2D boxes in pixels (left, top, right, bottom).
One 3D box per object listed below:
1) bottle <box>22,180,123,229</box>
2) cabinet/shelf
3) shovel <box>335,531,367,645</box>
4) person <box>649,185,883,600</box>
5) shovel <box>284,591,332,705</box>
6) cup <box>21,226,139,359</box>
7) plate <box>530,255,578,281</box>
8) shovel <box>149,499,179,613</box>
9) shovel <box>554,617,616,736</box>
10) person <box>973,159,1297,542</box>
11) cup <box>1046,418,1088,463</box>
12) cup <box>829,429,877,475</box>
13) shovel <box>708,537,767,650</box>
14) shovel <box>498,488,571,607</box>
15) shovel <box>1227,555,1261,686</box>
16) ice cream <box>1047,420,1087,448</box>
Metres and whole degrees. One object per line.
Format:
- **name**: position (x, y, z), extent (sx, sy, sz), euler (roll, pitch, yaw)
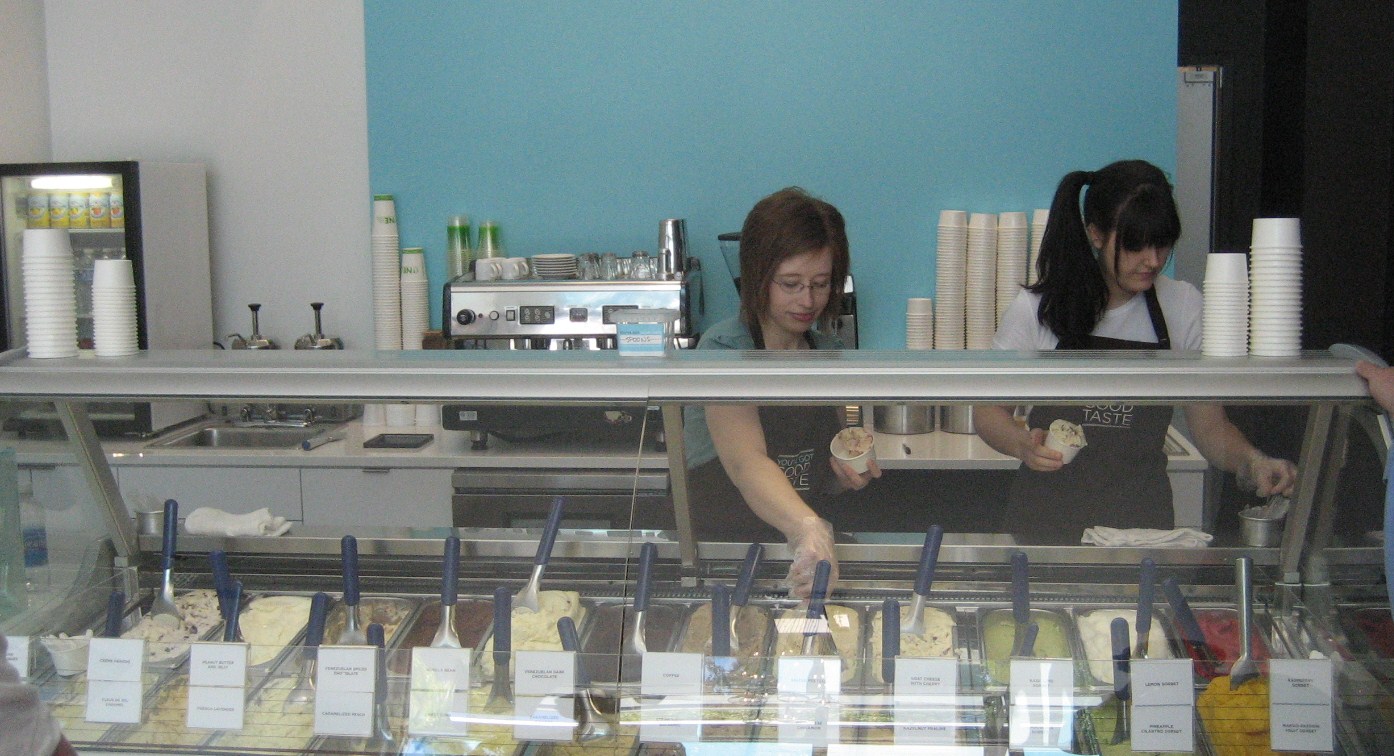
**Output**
- **bottle**: position (-2.943, -0.823, 5.828), extent (0.489, 0.245, 0.086), euler (-1, 4, 6)
- **cabinet/shelf**: position (-1.281, 0.368, 3.876), extent (1.013, 0.222, 0.138), euler (-1, 4, -6)
- **shovel**: position (-1.053, 0.635, 3.785), extent (0.065, 0.300, 0.175), euler (-3, 4, -15)
- **person**: position (0.253, -0.001, 4.031), extent (0.573, 1.253, 0.794), euler (-2, 4, 0)
- **shovel**: position (-1.152, 0.805, 3.704), extent (0.152, 0.264, 0.053), euler (-4, -29, 29)
- **cup**: position (-1.894, -0.267, 3.811), extent (0.339, 0.395, 0.159), euler (-2, 4, -8)
- **plate**: position (-0.685, -0.531, 5.848), extent (0.264, 0.106, 0.123), euler (0, 4, 13)
- **shovel**: position (-1.636, 0.542, 3.829), extent (0.075, 0.340, 0.077), euler (-2, 4, 3)
- **shovel**: position (-0.325, 0.875, 3.635), extent (0.094, 0.325, 0.182), euler (-5, 5, -38)
- **person**: position (1.379, -0.137, 4.083), extent (0.888, 1.212, 1.091), euler (-1, 4, 12)
- **cup**: position (1.096, 0.181, 3.694), extent (0.134, 0.093, 0.112), euler (-6, 20, -5)
- **cup**: position (0.482, 0.203, 3.739), extent (0.133, 0.089, 0.132), euler (-17, 27, 9)
- **shovel**: position (0.121, 0.651, 3.678), extent (0.198, 0.304, 0.103), euler (-6, 6, -44)
- **shovel**: position (-0.498, 0.533, 3.815), extent (0.127, 0.323, 0.079), euler (19, -13, -1)
- **shovel**: position (1.613, 0.705, 3.640), extent (0.076, 0.347, 0.156), euler (0, 5, 23)
- **ice cream**: position (1.102, 0.167, 3.679), extent (0.103, 0.069, 0.092), euler (-18, 28, -41)
